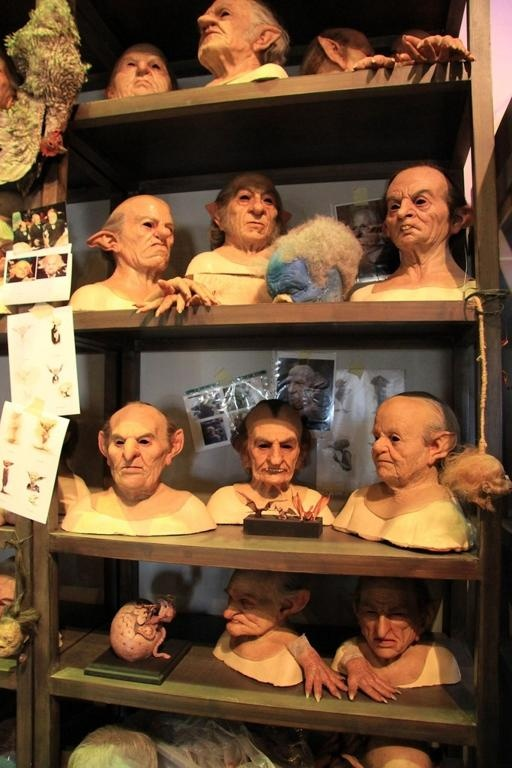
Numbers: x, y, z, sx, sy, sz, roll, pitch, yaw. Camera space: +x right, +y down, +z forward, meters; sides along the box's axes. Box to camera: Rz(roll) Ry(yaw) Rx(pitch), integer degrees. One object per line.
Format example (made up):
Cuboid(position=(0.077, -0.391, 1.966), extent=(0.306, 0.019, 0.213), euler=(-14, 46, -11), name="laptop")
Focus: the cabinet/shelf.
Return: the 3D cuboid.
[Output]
Cuboid(position=(0.050, 0.031, 1.809), extent=(1.105, 1.771, 0.651), euler=(0, 2, 17), name="cabinet/shelf")
